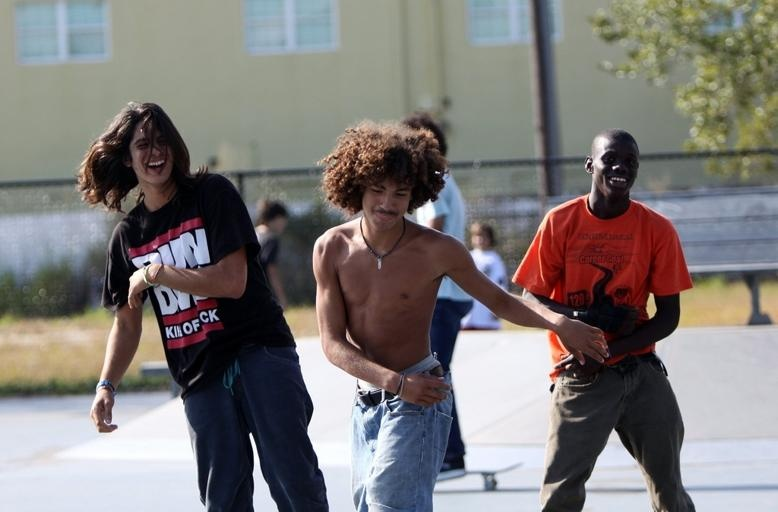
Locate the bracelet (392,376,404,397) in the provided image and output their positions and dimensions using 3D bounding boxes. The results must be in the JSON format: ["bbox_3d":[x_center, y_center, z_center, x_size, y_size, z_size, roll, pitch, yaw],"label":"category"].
[{"bbox_3d":[0.137,1.413,16.966,0.049,0.181,0.191,17,-30,12],"label":"bracelet"}]

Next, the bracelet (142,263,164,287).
[{"bbox_3d":[-2.574,0.217,17.345,0.183,0.248,0.202,-14,18,-41],"label":"bracelet"}]

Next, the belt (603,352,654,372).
[{"bbox_3d":[2.702,1.192,17.579,0.353,0.129,0.252,-10,-6,-8],"label":"belt"}]
